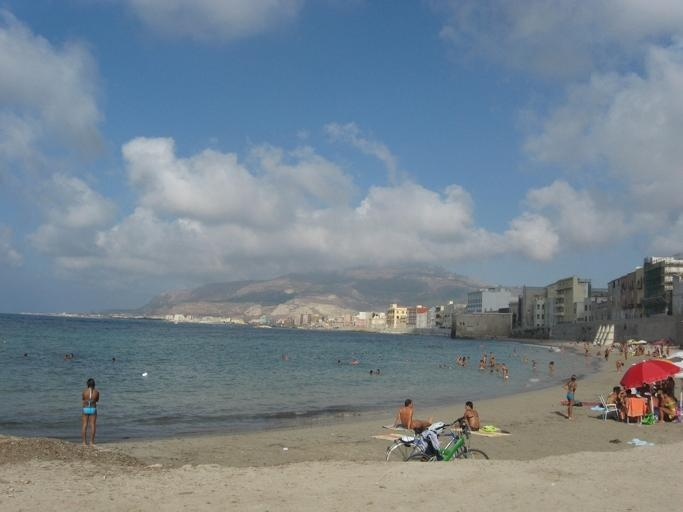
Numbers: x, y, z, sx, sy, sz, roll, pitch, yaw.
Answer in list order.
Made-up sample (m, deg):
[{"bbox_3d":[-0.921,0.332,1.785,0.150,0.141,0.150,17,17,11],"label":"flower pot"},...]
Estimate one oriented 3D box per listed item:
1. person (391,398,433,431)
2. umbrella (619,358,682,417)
[{"bbox_3d":[2.957,6.368,23.267,0.889,1.172,2.048,-2,-7,45],"label":"person"},{"bbox_3d":[14.201,5.403,26.556,2.153,1.319,1.335,3,-9,1],"label":"umbrella"}]
